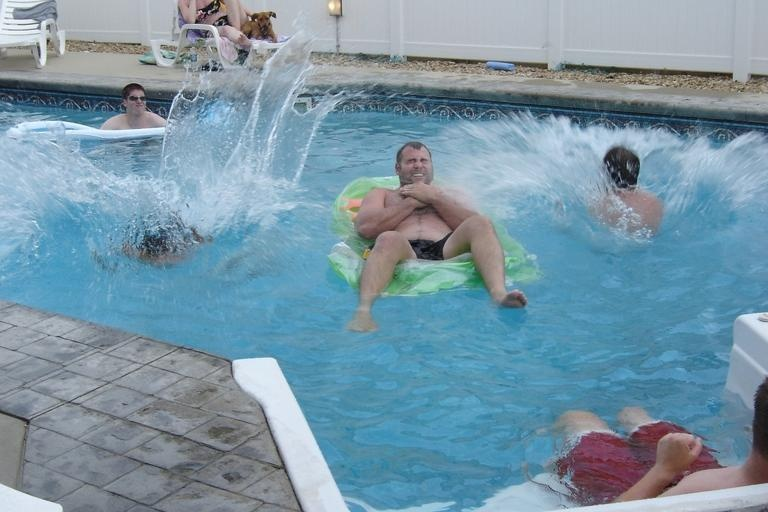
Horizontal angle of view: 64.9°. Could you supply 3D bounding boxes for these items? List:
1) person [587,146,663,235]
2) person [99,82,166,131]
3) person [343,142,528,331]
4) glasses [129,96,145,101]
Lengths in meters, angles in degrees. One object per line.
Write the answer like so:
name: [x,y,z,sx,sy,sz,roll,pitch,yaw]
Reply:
person: [2.157,-0.578,5.300,0.567,0.720,0.316,4,13,17]
person: [-3.222,-1.889,7.828,1.000,0.577,0.387,-9,14,-44]
person: [0.255,-0.218,4.667,1.263,0.695,1.889,-6,34,-6]
glasses: [-3.116,-2.003,7.683,0.199,0.065,0.066,-9,15,-39]
